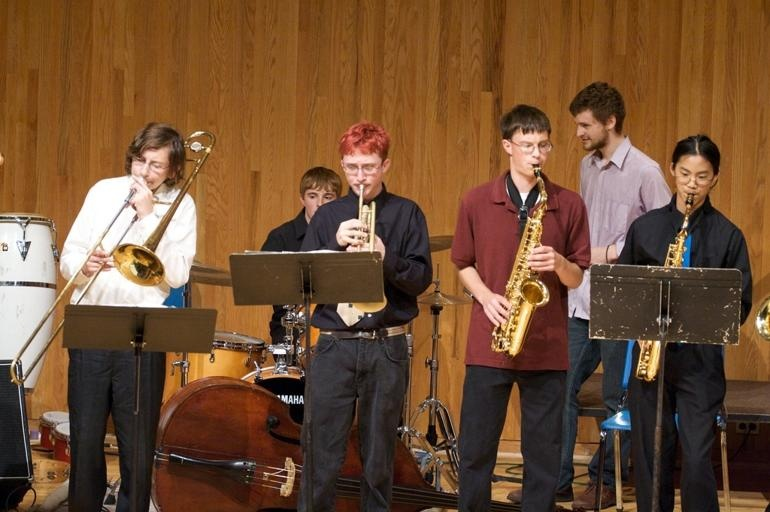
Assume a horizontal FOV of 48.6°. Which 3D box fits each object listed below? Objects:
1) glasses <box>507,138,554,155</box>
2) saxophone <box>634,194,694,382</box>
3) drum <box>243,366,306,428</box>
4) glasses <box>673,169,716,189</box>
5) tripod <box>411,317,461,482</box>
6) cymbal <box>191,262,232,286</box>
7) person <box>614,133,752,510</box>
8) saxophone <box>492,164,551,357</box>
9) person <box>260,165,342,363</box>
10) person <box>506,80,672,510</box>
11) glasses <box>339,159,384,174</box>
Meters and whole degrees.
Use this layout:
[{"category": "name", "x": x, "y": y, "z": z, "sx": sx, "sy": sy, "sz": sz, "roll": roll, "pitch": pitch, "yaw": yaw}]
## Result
[{"category": "glasses", "x": 0.884, "y": -0.647, "z": 5.068, "sx": 0.245, "sy": 0.079, "sz": 0.087, "roll": 1, "pitch": -3, "yaw": -10}, {"category": "saxophone", "x": 1.705, "y": 0.196, "z": 5.162, "sx": 0.293, "sy": 1.191, "sz": 0.363, "roll": 3, "pitch": 10, "yaw": 12}, {"category": "drum", "x": -0.777, "y": 0.951, "z": 6.114, "sx": 0.282, "sy": 0.512, "sz": 0.403, "roll": 0, "pitch": 4, "yaw": 1}, {"category": "glasses", "x": 1.885, "y": -0.461, "z": 5.158, "sx": 0.241, "sy": 0.108, "sz": 0.118, "roll": 0, "pitch": -3, "yaw": 17}, {"category": "tripod", "x": 0.417, "y": 1.044, "z": 6.569, "sx": 0.287, "sy": 1.281, "sz": 0.336, "roll": 2, "pitch": 8, "yaw": 6}, {"category": "cymbal", "x": -1.311, "y": 0.123, "z": 6.397, "sx": 0.271, "sy": 0.086, "sz": 0.262, "roll": 3, "pitch": -9, "yaw": 41}, {"category": "person", "x": 1.806, "y": 0.481, "z": 5.271, "sx": 0.716, "sy": 2.308, "sz": 0.879, "roll": -1, "pitch": 15, "yaw": 9}, {"category": "saxophone", "x": 0.811, "y": 0.028, "z": 5.009, "sx": 0.337, "sy": 1.117, "sz": 0.220, "roll": 1, "pitch": -2, "yaw": 3}, {"category": "person", "x": -0.638, "y": -0.062, "z": 6.779, "sx": 0.469, "sy": 1.687, "sz": 0.500, "roll": 1, "pitch": 9, "yaw": 2}, {"category": "person", "x": 1.512, "y": -0.071, "z": 6.427, "sx": 0.906, "sy": 3.829, "sz": 0.976, "roll": 1, "pitch": 0, "yaw": -31}, {"category": "glasses", "x": -0.127, "y": -0.524, "z": 5.032, "sx": 0.241, "sy": 0.085, "sz": 0.087, "roll": 1, "pitch": -3, "yaw": 0}]
